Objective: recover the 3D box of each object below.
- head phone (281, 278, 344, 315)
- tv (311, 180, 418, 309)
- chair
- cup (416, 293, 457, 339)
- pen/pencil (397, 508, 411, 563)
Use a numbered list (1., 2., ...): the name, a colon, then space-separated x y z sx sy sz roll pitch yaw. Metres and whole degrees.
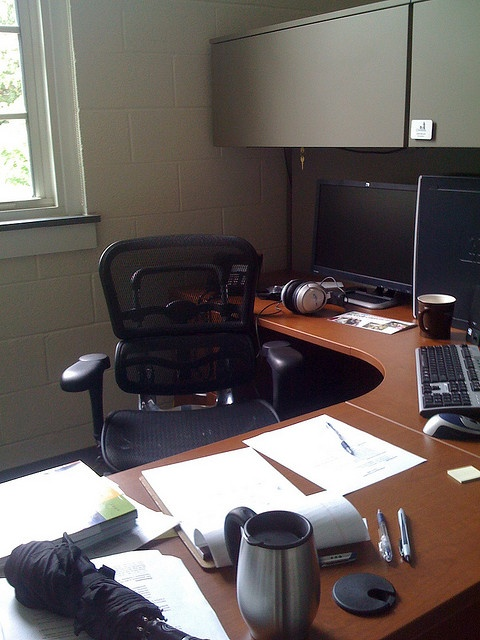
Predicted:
1. head phone: 0.288 -0.113 1.896 0.182 0.091 0.153 -7 11 -36
2. tv: 0.506 -0.322 2.019 0.239 0.473 0.525 -19 25 -33
3. chair: -0.183 0.256 1.552 0.656 0.962 0.539 -5 13 -23
4. cup: 0.608 -0.007 1.569 0.138 0.120 0.105 -17 21 -34
5. pen/pencil: 0.219 0.286 0.672 0.012 0.011 0.102 -26 10 19
